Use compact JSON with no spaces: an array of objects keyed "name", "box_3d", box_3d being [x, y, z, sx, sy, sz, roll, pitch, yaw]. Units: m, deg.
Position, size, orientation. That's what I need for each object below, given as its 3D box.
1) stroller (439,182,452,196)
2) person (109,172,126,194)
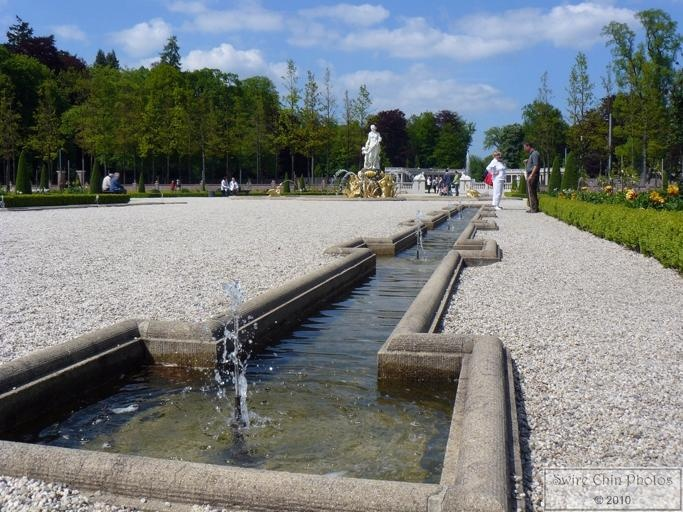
[{"name":"stroller","box_3d":[8.596,-5.554,50.552,1.162,0.676,1.709,9,47,7]},{"name":"person","box_3d":[-13.107,-4.156,35.385,0.762,1.073,1.495,-6,10,-20]}]
